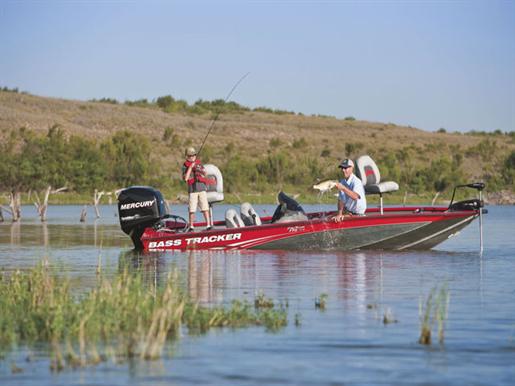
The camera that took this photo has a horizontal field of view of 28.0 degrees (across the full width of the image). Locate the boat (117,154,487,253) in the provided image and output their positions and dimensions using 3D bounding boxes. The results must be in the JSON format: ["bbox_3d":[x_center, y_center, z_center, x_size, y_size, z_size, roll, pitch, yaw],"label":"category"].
[{"bbox_3d":[1.547,0.194,43.290,15.098,6.027,4.500,-1,5,2],"label":"boat"}]

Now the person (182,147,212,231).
[{"bbox_3d":[-1.481,-0.159,25.085,0.640,2.126,0.574,1,3,7],"label":"person"}]
